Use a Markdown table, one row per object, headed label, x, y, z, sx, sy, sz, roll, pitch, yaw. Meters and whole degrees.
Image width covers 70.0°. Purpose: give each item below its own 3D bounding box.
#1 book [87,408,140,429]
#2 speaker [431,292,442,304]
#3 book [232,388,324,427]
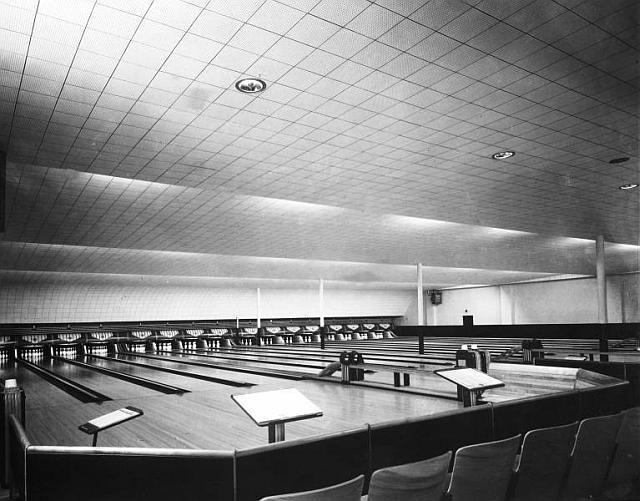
| label | x | y | z | sx | sy | sz | roll | pitch | yaw |
| --- | --- | --- | --- | --- | --- | --- | --- | --- | --- |
| book | -1.544 | 1.251 | 3.449 | 0.198 | 0.040 | 0.350 | 3 | 3 | 34 |
| speaker | 7.348 | 2.932 | 28.868 | 0.658 | 0.829 | 0.391 | -4 | -6 | 26 |
| book | -0.284 | 1.038 | 3.062 | 0.447 | 0.044 | 0.377 | 1 | 3 | -31 |
